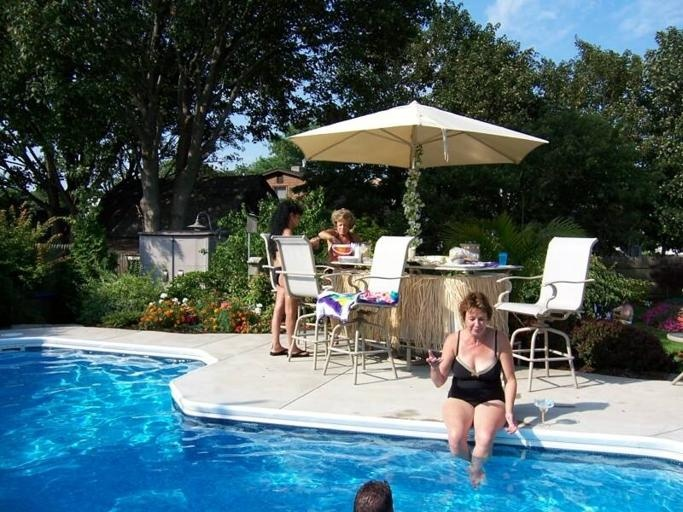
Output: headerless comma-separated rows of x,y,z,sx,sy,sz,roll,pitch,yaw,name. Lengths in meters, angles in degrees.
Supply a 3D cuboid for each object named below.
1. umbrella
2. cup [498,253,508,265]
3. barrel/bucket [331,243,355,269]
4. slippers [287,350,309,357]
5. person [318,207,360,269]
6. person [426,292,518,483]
1.102,-1.327,8.561,3.390,1.857,2.453,1,10,20,umbrella
2.092,0.038,7.264,0.125,0.162,0.129,1,10,0,cup
-0.007,0.003,8.123,0.265,0.231,0.329,1,4,20,barrel/bucket
-0.601,1.401,8.043,0.190,0.068,0.111,0,-2,-5,slippers
-0.026,-0.219,8.384,0.581,0.903,0.433,0,-10,-31,person
1.242,1.114,5.233,0.748,1.460,0.789,3,11,29,person
